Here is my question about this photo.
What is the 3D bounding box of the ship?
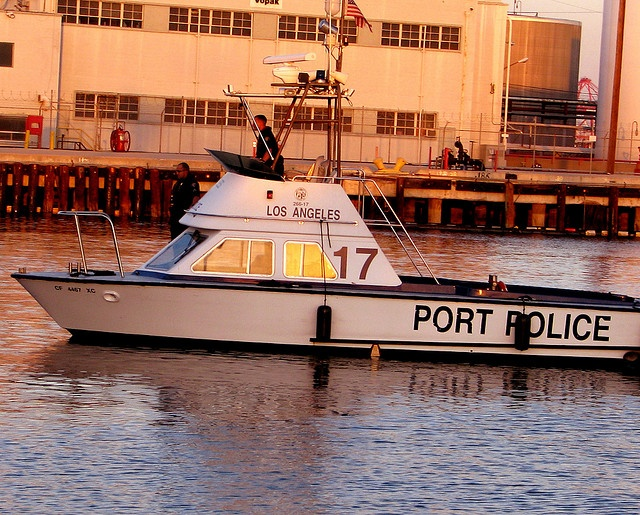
[{"bbox_3d":[0.982,-3.593,50.932,13.798,7.154,33.997,0,8,0],"label":"ship"}]
